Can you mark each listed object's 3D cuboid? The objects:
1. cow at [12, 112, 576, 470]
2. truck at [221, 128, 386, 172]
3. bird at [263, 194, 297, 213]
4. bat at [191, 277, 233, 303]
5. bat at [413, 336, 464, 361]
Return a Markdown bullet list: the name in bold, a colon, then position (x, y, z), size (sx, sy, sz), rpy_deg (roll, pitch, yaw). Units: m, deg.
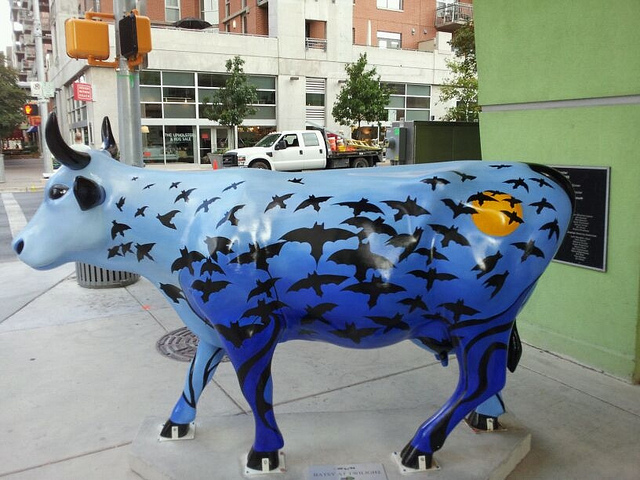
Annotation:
- **cow**: position (-0.165, 0.461, 4.365), size (3.703, 2.480, 1.214), rpy_deg (1, 12, 0)
- **truck**: position (-0.248, -3.575, 24.344), size (6.280, 2.320, 2.244), rpy_deg (-6, 9, -17)
- **bird**: position (-0.266, -0.240, 3.824), size (0.197, 0.123, 0.059), rpy_deg (0, -5, -10)
- **bat**: position (-0.706, 0.321, 3.760), size (0.273, 0.138, 0.031), rpy_deg (-1, 0, 27)
- **bat**: position (0.828, 0.724, 4.034), size (0.309, 0.166, 0.145), rpy_deg (-2, 17, -17)
